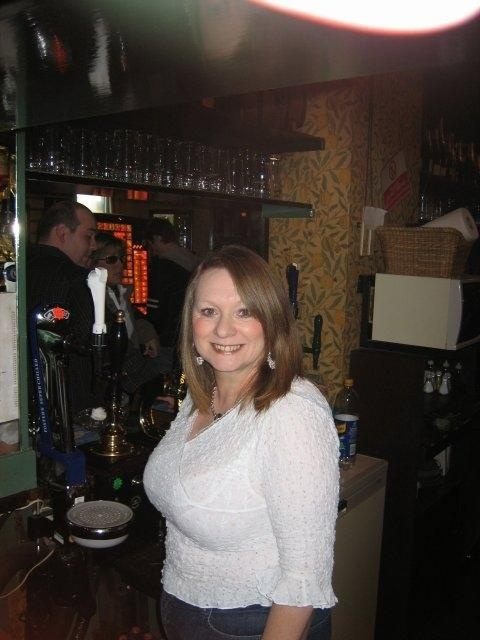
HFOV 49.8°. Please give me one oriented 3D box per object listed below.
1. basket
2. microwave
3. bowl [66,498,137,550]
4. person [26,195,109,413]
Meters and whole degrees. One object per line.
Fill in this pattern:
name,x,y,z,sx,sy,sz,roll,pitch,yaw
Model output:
basket,0.784,-0.290,2.211,0.301,0.169,0.255,3,7,17
microwave,0.749,-0.037,2.205,0.294,0.306,0.440,3,1,29
bowl,-0.291,0.425,1.072,0.131,0.070,0.147,5,-9,-17
person,-0.675,0.132,2.201,0.310,1.251,0.467,-8,29,-26
